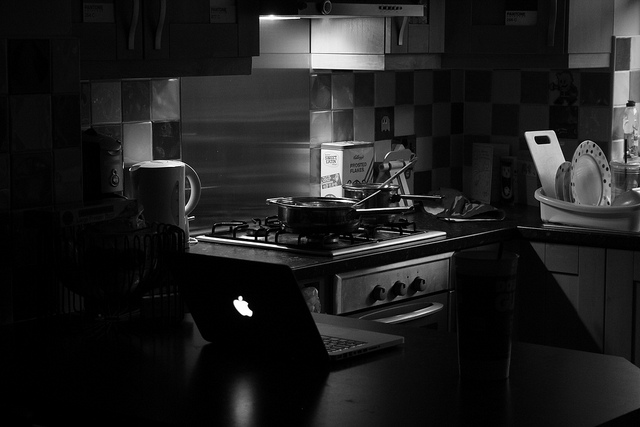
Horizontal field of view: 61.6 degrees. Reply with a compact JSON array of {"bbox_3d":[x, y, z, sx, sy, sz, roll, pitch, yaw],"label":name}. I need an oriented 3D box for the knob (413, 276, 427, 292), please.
[{"bbox_3d":[0.485,0.342,2.598,0.070,0.076,0.022,-3,6,-22],"label":"knob"}]

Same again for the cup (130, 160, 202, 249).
[{"bbox_3d":[-0.714,-0.045,2.485,0.302,0.400,0.276,-1,6,0],"label":"cup"}]

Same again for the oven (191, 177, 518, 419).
[{"bbox_3d":[0.079,0.221,1.669,0.572,0.776,0.824,3,6,35],"label":"oven"}]

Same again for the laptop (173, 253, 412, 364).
[{"bbox_3d":[-0.029,0.194,1.258,0.371,0.250,0.392,9,13,36],"label":"laptop"}]
